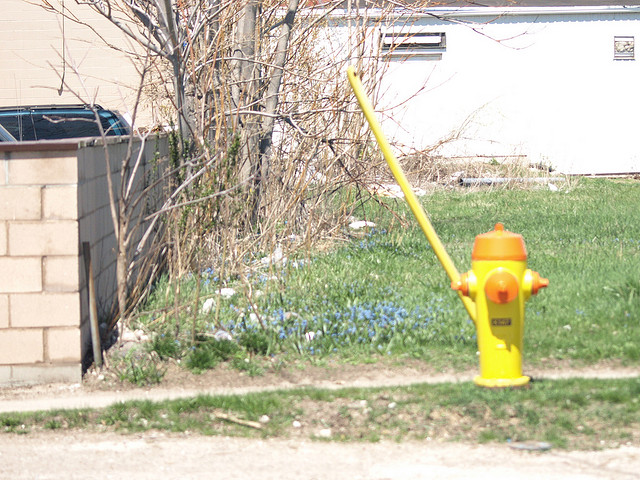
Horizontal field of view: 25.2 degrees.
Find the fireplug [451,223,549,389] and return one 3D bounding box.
[{"bbox_3d":[2.098,0.786,16.881,0.951,1.770,0.324,-4,-1,9],"label":"fireplug"}]

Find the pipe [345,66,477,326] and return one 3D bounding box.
[{"bbox_3d":[1.391,-0.651,22.240,0.833,5.332,0.574,-27,1,-4],"label":"pipe"}]
